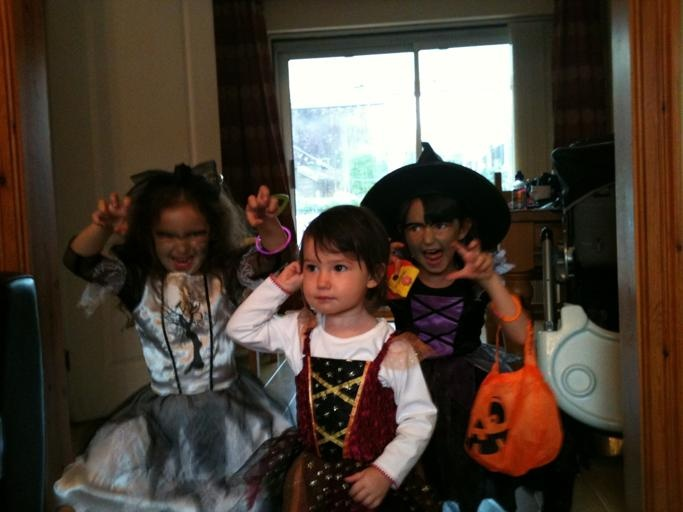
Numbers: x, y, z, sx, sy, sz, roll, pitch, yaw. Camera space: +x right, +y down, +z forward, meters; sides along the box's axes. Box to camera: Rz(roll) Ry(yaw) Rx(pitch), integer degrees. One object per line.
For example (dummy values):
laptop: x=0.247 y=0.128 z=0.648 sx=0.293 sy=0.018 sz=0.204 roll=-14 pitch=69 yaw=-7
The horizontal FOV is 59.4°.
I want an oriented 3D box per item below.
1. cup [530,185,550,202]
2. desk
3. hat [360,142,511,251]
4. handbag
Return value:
cup: x=0.927 y=-0.297 z=2.799 sx=0.103 sy=0.084 sz=0.060 roll=2 pitch=0 yaw=2
desk: x=0.804 y=-0.039 z=2.637 sx=0.198 sy=0.392 sz=0.379 roll=0 pitch=19 yaw=21
hat: x=0.341 y=-0.205 z=1.969 sx=0.327 sy=0.197 sz=0.485 roll=-9 pitch=-34 yaw=10
handbag: x=0.415 y=0.366 z=1.468 sx=0.218 sy=0.335 sz=0.110 roll=-6 pitch=6 yaw=-11
